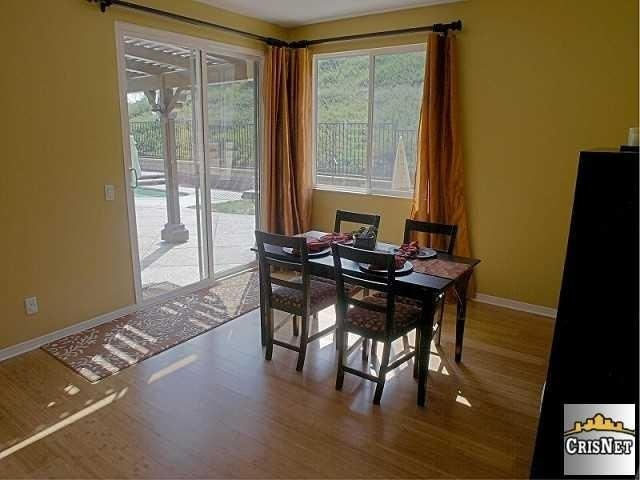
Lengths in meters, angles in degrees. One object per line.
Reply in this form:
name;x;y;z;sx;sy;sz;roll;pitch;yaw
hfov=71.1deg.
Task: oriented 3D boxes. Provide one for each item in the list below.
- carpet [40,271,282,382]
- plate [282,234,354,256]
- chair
carpet;-1.385;0.764;4.110;0.846;0.131;1.858;12;17;36
plate;0.041;0.020;3.568;0.322;0.059;0.254;-21;20;-40
chair;0.689;0.449;3.496;0.923;1.088;1.376;14;18;42
